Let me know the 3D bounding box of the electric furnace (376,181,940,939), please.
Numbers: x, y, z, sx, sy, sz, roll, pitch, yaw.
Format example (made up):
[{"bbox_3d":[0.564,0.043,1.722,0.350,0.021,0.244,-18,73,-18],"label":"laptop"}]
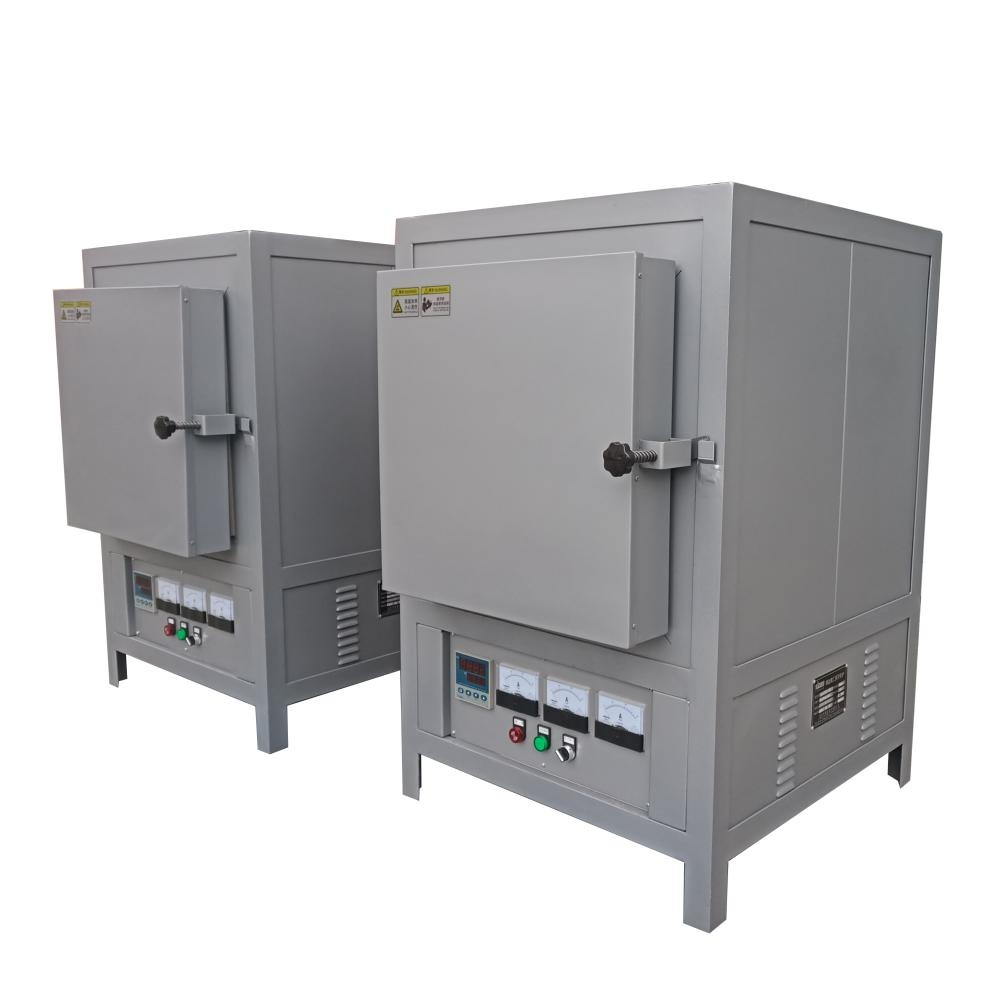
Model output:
[{"bbox_3d":[0.266,0.086,3.618,1.640,2.584,1.463,-6,7,-42],"label":"electric furnace"}]

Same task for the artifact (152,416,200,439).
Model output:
[{"bbox_3d":[-1.049,-0.250,3.449,0.127,0.088,0.069,-8,11,-41],"label":"artifact"}]

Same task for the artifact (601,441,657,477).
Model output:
[{"bbox_3d":[0.288,-0.096,2.429,0.063,0.084,0.111,3,10,42],"label":"artifact"}]

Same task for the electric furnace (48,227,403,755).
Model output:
[{"bbox_3d":[-0.967,-0.107,4.149,1.067,1.831,1.199,7,12,27],"label":"electric furnace"}]
